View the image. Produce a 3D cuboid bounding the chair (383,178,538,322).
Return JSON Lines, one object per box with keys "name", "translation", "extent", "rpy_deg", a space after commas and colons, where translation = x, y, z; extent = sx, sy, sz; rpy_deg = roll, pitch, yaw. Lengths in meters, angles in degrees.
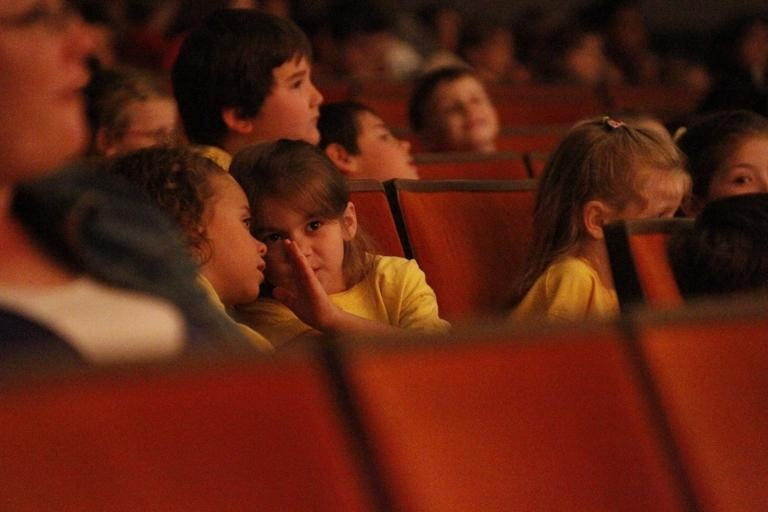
{"name": "chair", "translation": [0.106, 0.003, 1.201], "extent": [0.189, 0.227, 0.197], "rpy_deg": [-4, -11, -17]}
